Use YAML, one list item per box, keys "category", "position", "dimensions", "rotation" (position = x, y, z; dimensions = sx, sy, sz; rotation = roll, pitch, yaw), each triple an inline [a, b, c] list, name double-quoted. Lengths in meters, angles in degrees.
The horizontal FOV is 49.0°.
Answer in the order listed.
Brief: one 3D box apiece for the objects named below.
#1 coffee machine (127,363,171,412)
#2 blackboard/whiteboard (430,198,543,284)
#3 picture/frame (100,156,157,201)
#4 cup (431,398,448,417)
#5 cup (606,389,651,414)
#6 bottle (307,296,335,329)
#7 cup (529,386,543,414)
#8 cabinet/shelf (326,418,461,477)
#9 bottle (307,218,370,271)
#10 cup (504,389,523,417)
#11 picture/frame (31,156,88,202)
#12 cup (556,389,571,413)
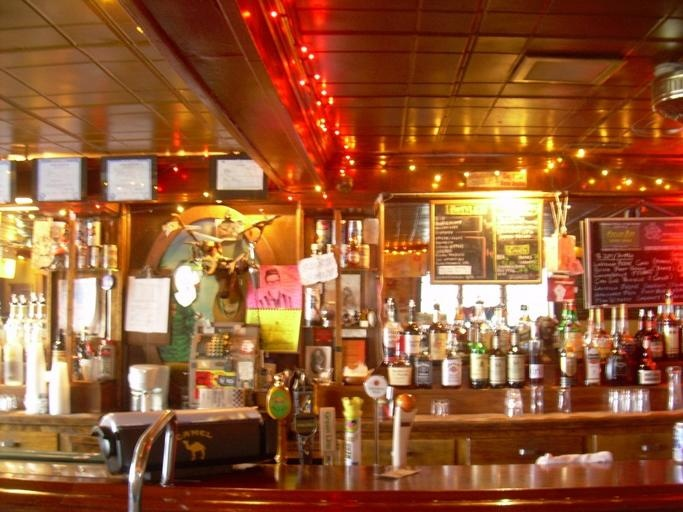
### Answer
- category: "coffee machine"
  position: [-1.572, 1.068, 6.086]
  dimensions: [0.302, 0.358, 0.298]
  rotation: [0, -7, -14]
- category: "blackboard/whiteboard"
  position: [1.260, -0.142, 6.523]
  dimensions: [0.932, 0.545, 0.054]
  rotation: [0, 2, 2]
- category: "picture/frame"
  position: [-1.800, -0.645, 6.346]
  dimensions: [0.475, 0.322, 0.140]
  rotation: [0, -6, 1]
- category: "cup"
  position: [0.734, 1.136, 5.597]
  dimensions: [0.130, 0.102, 0.117]
  rotation: [3, -3, -21]
- category: "cup"
  position: [2.186, 1.096, 5.681]
  dimensions: [0.221, 0.116, 0.228]
  rotation: [1, -11, 0]
- category: "bottle"
  position: [-0.196, 0.516, 6.552]
  dimensions: [0.351, 0.244, 0.185]
  rotation: [-1, -4, 11]
- category: "cup"
  position: [1.490, 1.091, 5.716]
  dimensions: [0.111, 0.208, 0.118]
  rotation: [-2, -7, 0]
- category: "cabinet/shelf"
  position: [0.391, 1.325, 5.175]
  dimensions: [0.954, 0.311, 0.888]
  rotation: [-2, -6, 5]
- category: "bottle"
  position: [-0.012, -0.091, 6.556]
  dimensions: [0.579, 0.422, 0.251]
  rotation: [0, -2, 11]
- category: "cup"
  position: [1.283, 1.095, 5.602]
  dimensions: [0.125, 0.194, 0.128]
  rotation: [-2, -7, 0]
- category: "picture/frame"
  position: [-2.410, -0.648, 6.372]
  dimensions: [0.402, 0.373, 0.034]
  rotation: [-2, -8, -1]
- category: "cup"
  position: [1.712, 1.108, 5.756]
  dimensions: [0.113, 0.179, 0.062]
  rotation: [-3, -7, 6]
